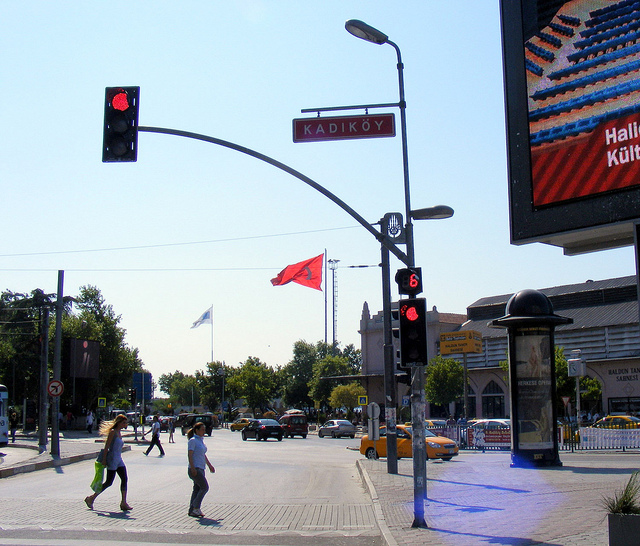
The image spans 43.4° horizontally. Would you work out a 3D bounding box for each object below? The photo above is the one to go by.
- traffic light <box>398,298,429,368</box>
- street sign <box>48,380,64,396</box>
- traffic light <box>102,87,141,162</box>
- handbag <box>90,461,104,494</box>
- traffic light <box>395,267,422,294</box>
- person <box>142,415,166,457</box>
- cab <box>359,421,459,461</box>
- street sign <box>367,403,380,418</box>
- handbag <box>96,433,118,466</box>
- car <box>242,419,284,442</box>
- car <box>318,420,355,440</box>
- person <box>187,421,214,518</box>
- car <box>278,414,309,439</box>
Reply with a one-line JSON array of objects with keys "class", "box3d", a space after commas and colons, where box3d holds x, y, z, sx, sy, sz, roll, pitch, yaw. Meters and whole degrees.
[{"class": "traffic light", "box3d": [1.755, 1.136, 15.162, 0.510, 1.490, 0.340, -9, -41, 14]}, {"class": "street sign", "box3d": [-9.680, 4.182, 29.448, 0.512, 0.615, 0.980, 3, -12, -20]}, {"class": "traffic light", "box3d": [-3.802, -2.843, 15.430, 0.609, 1.709, 0.224, -2, -22, -5]}, {"class": "handbag", "box3d": [-4.669, 4.306, 16.922, 0.213, 0.632, 0.995, 2, -12, -15]}, {"class": "traffic light", "box3d": [1.637, 0.148, 14.933, 0.375, 0.540, 0.245, 0, -9, 3]}, {"class": "person", "box3d": [-6.920, 6.823, 33.826, 0.885, 1.773, 3.475, 2, -12, -12]}, {"class": "cab", "box3d": [3.209, 6.170, 29.337, 3.353, 1.367, 3.632, 7, -14, -31]}, {"class": "street sign", "box3d": [1.839, 4.795, 28.073, 0.413, 0.521, 0.655, -1, -11, 2]}, {"class": "handbag", "box3d": [-4.435, 3.695, 16.733, 0.400, 0.630, 0.565, 3, -11, -18]}, {"class": "car", "box3d": [-3.593, 9.912, 50.673, 2.932, 1.380, 1.824, -10, -14, 36]}, {"class": "car", "box3d": [1.135, 11.238, 57.777, 1.635, 1.341, 2.970, 6, -14, -29]}, {"class": "person", "box3d": [-2.441, 3.942, 16.155, 0.441, 1.890, 0.823, 2, -10, -11]}, {"class": "car", "box3d": [-1.900, 10.783, 56.736, 1.174, 1.337, 2.298, 1, -2, -9]}]
